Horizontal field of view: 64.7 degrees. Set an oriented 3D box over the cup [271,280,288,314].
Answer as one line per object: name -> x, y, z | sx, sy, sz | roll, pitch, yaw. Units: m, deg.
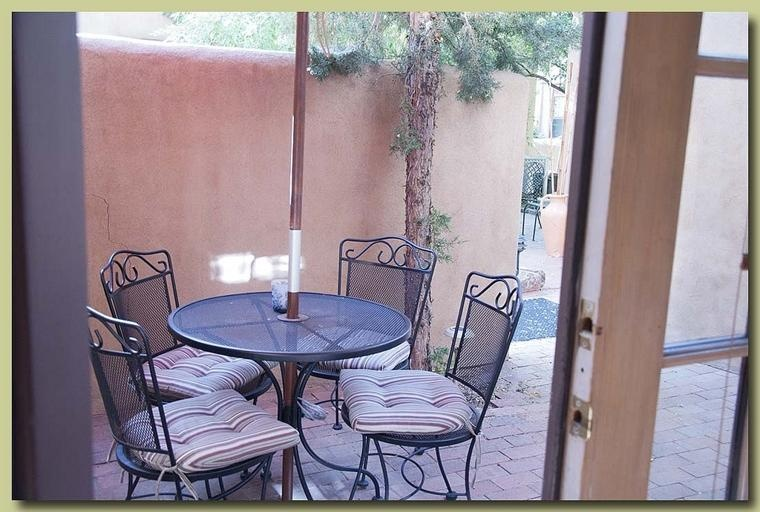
cup -> -0.414, 0.184, 2.581 | 0.117, 0.120, 0.116 | 2, -7, 0
